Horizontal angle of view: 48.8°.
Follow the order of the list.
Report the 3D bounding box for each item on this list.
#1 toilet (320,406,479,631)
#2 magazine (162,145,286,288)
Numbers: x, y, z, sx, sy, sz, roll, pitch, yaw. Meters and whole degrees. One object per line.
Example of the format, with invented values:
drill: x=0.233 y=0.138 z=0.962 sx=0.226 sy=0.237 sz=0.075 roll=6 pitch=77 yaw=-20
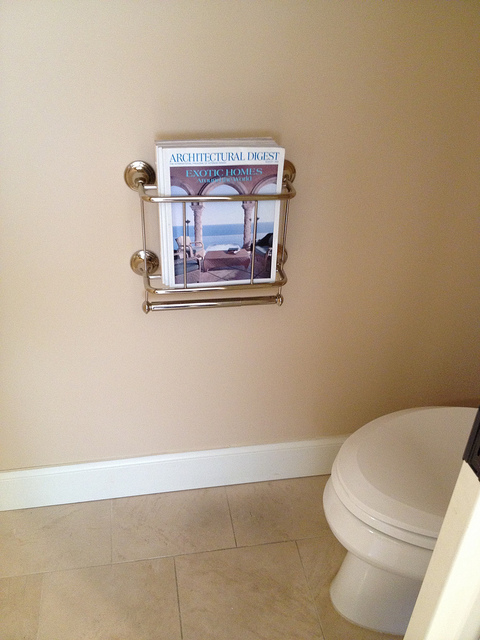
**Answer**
toilet: x=0.316 y=0.440 z=1.093 sx=0.289 sy=0.440 sz=0.360 roll=7 pitch=18 yaw=14
magazine: x=-0.039 y=-0.207 z=1.024 sx=0.268 sy=0.364 sz=0.041 roll=-4 pitch=35 yaw=-11
